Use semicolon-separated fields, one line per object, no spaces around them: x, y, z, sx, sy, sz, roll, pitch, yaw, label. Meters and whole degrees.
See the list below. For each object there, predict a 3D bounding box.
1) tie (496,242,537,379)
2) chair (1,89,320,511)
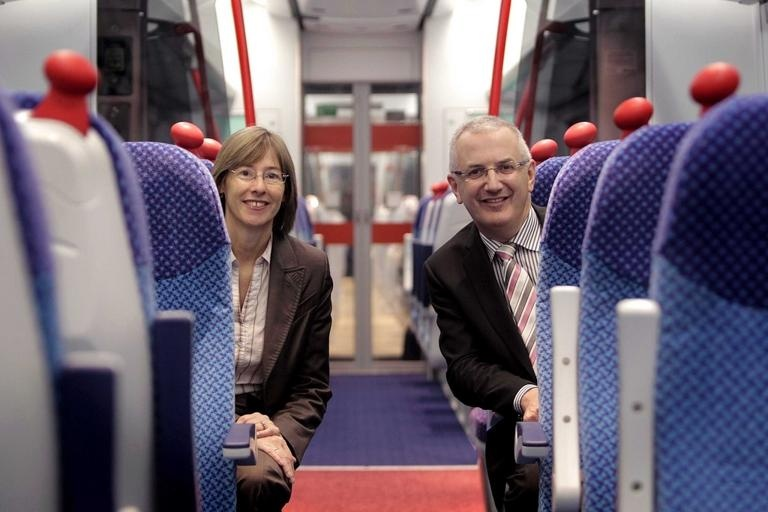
0.441;0.133;2.480;0.124;0.055;0.494;-4;43;1;tie
-0.348;0.140;2.066;0.646;1.038;0.877;0;-1;6;chair
